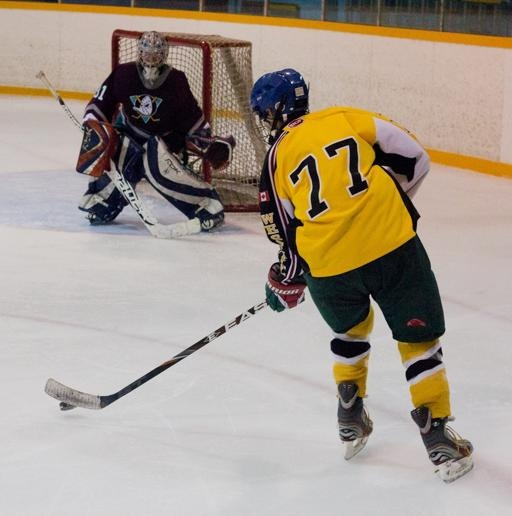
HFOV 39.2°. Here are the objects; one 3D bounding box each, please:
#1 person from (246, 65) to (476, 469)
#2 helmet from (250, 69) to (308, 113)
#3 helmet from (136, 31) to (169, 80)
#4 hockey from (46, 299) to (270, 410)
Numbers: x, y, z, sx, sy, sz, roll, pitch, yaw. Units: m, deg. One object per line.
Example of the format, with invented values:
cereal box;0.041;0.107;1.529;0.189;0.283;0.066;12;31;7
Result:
person;0.250;0.029;1.781;0.680;0.961;0.381;7;15;14
helmet;0.059;-0.439;1.863;0.116;0.104;0.144;-19;31;-29
helmet;-0.552;-1.077;3.795;0.216;0.226;0.256;0;7;-3
hockey;-0.333;0.336;2.417;0.612;0.058;0.156;-23;64;-13
